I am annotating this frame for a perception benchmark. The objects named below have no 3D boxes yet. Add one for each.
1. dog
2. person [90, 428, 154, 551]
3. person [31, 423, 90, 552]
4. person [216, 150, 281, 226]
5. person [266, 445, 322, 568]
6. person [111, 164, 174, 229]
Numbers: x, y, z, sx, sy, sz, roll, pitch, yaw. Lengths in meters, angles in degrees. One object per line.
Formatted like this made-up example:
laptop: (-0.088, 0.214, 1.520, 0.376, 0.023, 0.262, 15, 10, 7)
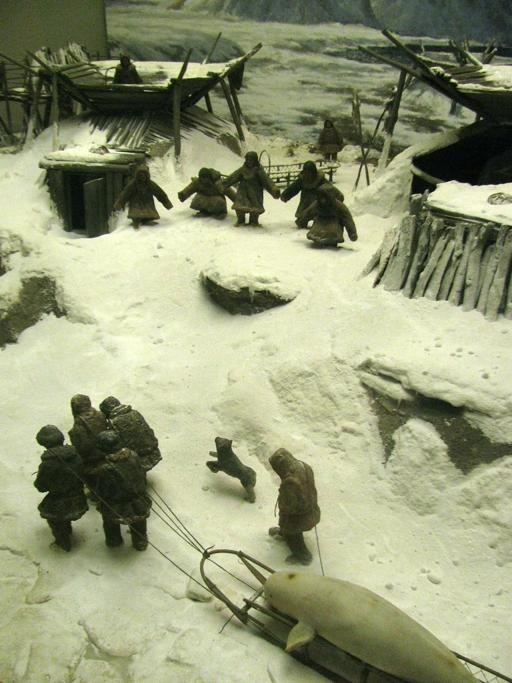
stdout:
dog: (-0.139, 0.898, 5.428, 0.502, 0.299, 0.160, 33, 31, 29)
person: (-0.904, 1.002, 5.028, 0.392, 0.739, 0.477, 1, 26, -11)
person: (-1.288, 0.972, 4.964, 0.326, 0.789, 0.418, 0, 27, -14)
person: (-0.054, -1.657, 8.272, 0.474, 0.793, 0.602, -2, 26, -17)
person: (0.262, 1.084, 4.950, 0.345, 0.687, 0.420, 1, 26, -10)
person: (-1.267, -1.635, 8.425, 0.631, 0.682, 0.352, -2, 27, -17)
